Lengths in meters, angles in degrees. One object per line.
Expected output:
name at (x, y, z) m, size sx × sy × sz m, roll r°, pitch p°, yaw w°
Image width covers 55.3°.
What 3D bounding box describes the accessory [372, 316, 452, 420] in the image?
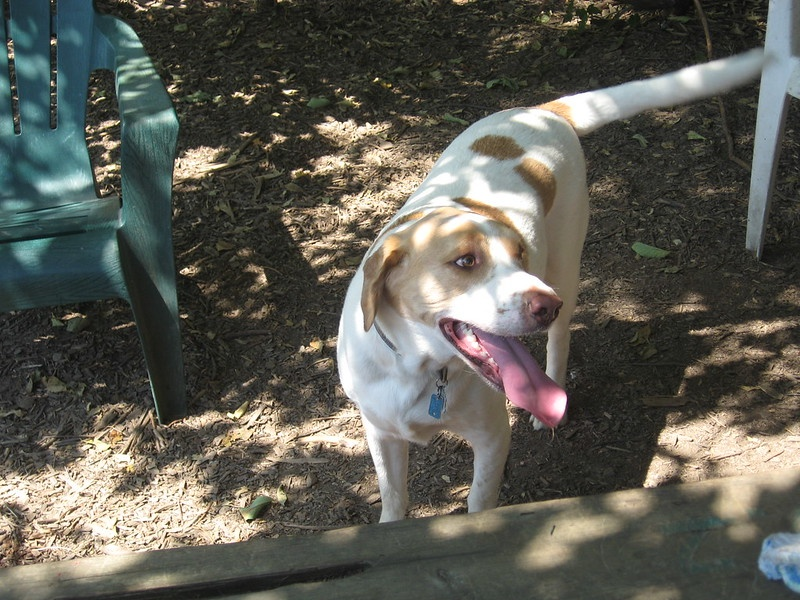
accessory at (0.058, 0.250, 2.937) m, size 0.229 × 0.421 × 0.098 m, roll -18°, pitch 12°, yaw 15°
